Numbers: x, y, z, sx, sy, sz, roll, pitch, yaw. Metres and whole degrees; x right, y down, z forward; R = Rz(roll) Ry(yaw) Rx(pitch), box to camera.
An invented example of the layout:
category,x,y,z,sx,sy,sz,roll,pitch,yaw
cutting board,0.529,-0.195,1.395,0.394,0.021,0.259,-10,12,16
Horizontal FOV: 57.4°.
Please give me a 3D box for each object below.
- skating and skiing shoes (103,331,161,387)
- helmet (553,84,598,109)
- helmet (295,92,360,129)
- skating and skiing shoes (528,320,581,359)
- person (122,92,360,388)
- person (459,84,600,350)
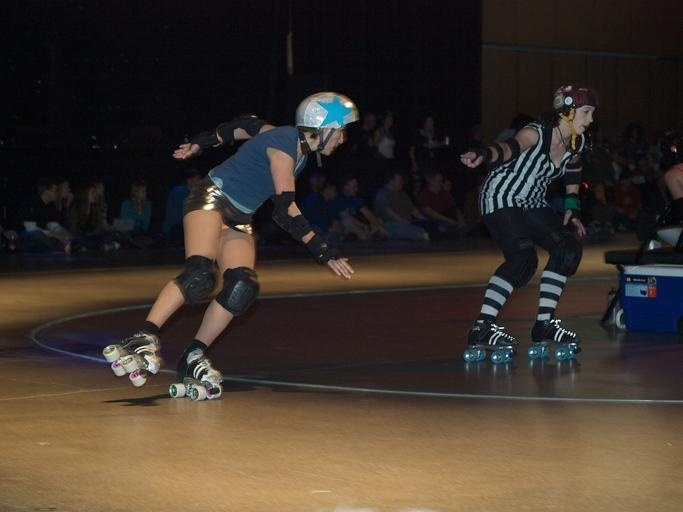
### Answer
category,x,y,z,sx,sy,sz,roll,pitch,yaw
skating and skiing shoes,-1.017,0.531,3.129,0.275,0.127,0.253,-32,56,-33
helmet,1.618,-1.101,4.318,0.231,0.136,0.207,3,5,12
helmet,-0.065,-0.810,3.409,0.222,0.225,0.300,-16,24,-36
skating and skiing shoes,1.450,0.555,4.233,0.206,0.260,0.349,3,-2,-44
person,-0.548,-0.088,3.404,1.204,1.627,0.799,0,4,0
person,1.330,-0.307,4.470,1.000,1.924,0.835,0,2,3
